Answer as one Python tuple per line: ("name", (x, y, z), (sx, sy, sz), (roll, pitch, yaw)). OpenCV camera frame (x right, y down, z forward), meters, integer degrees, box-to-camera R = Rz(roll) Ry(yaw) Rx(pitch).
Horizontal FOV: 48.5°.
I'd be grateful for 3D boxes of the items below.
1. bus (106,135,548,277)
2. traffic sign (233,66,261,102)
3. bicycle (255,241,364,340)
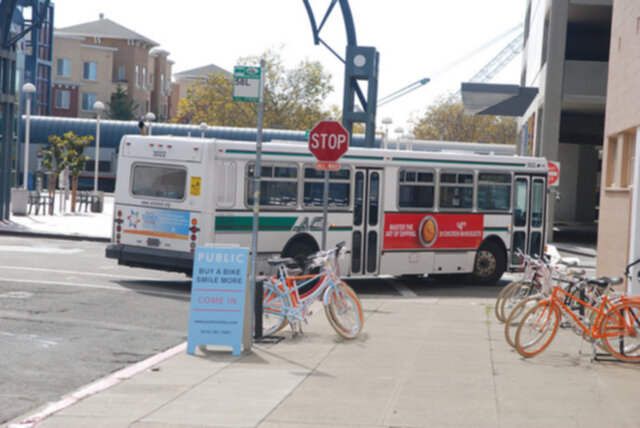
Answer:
("bus", (0.955, 0.059, 19.086), (11.830, 3.558, 3.355), (1, 1, -33))
("traffic sign", (-1.289, -2.312, 12.511), (0.543, 0.637, 0.393), (2, 7, 4))
("bicycle", (-0.145, 1.444, 13.128), (2.187, 1.564, 1.220), (-1, -1, 5))
